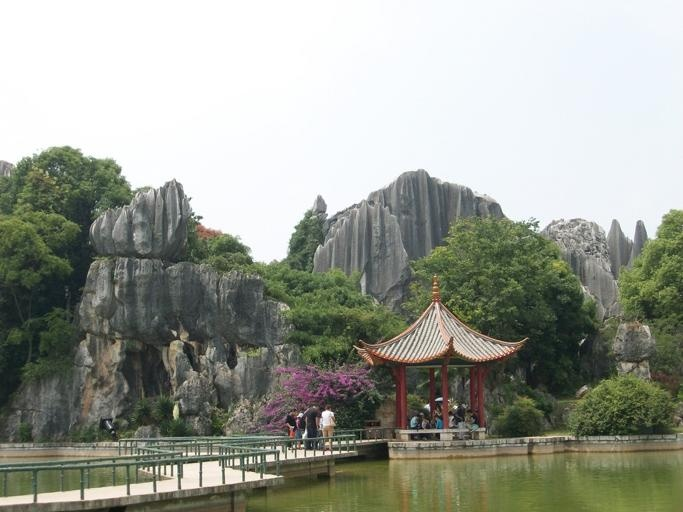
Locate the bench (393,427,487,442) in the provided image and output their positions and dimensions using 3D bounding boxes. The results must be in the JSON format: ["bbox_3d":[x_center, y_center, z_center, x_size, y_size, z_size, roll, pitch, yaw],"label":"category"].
[{"bbox_3d":[5.341,9.713,68.646,4.749,0.774,1.386,1,4,1],"label":"bench"}]
